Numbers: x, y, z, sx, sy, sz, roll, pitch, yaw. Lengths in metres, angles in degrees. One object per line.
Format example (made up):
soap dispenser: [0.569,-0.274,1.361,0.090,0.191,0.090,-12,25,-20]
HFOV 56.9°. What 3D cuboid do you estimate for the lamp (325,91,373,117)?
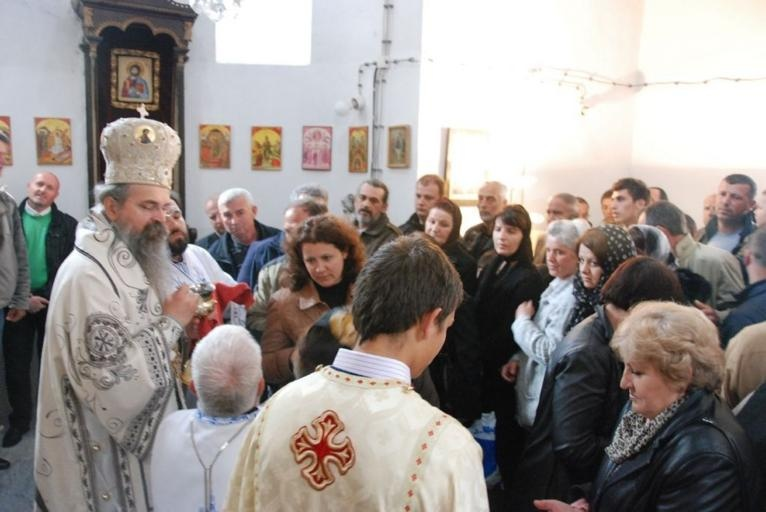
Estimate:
lamp: [-0.439,-1.959,9.159,0.510,0.227,0.227,-10,-10,-16]

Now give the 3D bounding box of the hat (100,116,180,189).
hat: [-1.624,-0.694,4.886,0.521,0.397,0.437,2,2,0]
